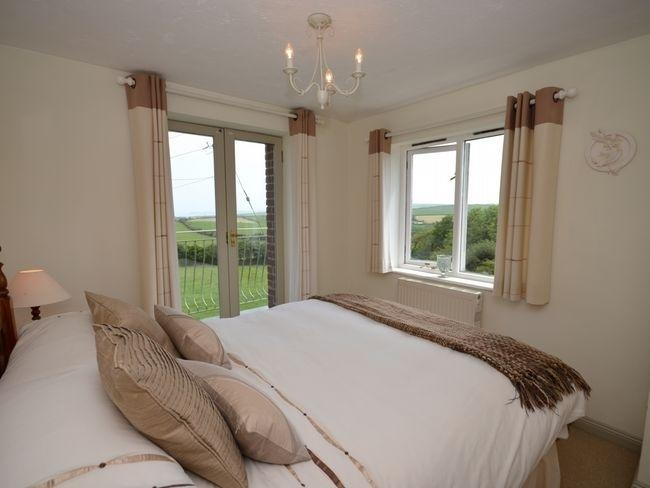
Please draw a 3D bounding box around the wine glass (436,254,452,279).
[{"bbox_3d":[1.218,0.235,4.588,0.232,0.300,0.189,1,0,0],"label":"wine glass"}]

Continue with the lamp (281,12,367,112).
[{"bbox_3d":[-0.022,-1.320,3.458,0.645,0.763,0.696,-4,5,-44],"label":"lamp"}]

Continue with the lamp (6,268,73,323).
[{"bbox_3d":[-2.013,0.313,3.168,0.361,0.403,0.378,4,8,9],"label":"lamp"}]
